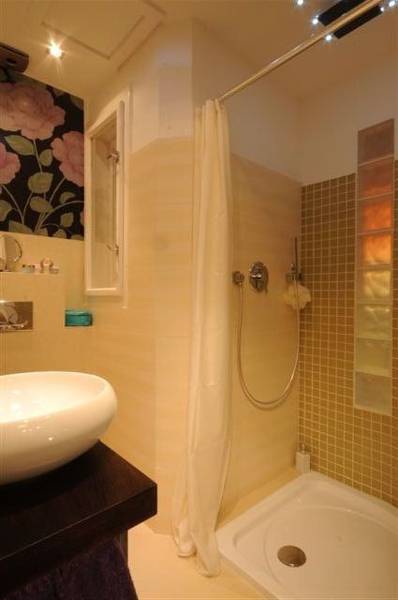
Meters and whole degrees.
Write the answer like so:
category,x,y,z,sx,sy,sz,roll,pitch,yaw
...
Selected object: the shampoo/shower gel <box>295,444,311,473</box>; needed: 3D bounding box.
category,x,y,z,sx,sy,sz,roll,pitch,yaw
shampoo/shower gel,0.489,0.756,2.190,0.063,0.111,0.088,-4,13,-24
